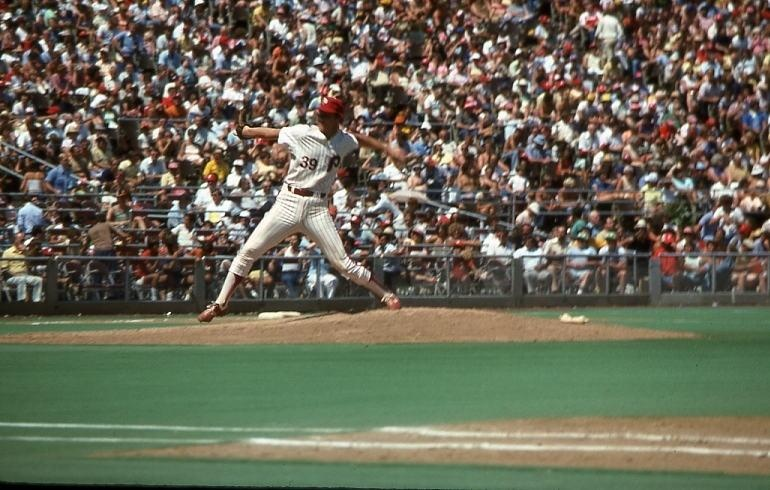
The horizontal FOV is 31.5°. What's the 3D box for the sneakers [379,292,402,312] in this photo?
[{"bbox_3d":[0.088,1.056,24.634,0.234,0.191,0.469,-19,-20,-9],"label":"sneakers"}]
